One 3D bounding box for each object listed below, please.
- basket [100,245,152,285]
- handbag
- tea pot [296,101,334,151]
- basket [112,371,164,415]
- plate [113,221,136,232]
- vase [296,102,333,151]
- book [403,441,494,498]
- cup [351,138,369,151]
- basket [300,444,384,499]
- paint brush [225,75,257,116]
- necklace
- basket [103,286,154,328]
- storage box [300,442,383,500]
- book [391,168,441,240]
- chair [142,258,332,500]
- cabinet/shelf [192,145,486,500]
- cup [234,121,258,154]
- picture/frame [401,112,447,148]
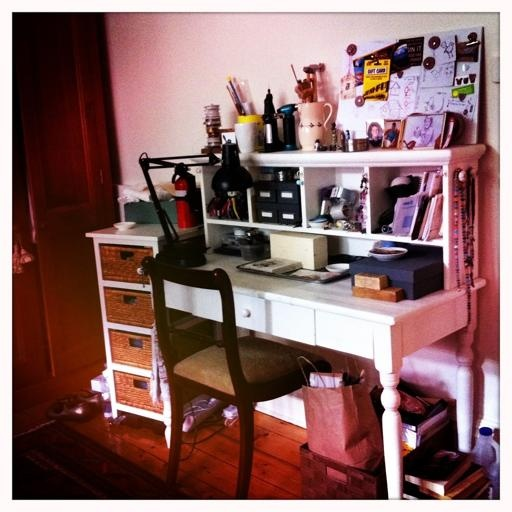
[{"bbox_3d":[-0.667,0.045,2.285,0.317,0.181,0.170,4,-9,-39],"label":"basket"},{"bbox_3d":[0.272,0.525,1.577,0.147,0.332,0.288,-5,-5,-42],"label":"handbag"},{"bbox_3d":[0.221,-0.522,1.892,0.135,0.177,0.164,-18,21,-38],"label":"tea pot"},{"bbox_3d":[-0.592,0.683,2.386,0.308,0.173,0.177,1,5,24],"label":"basket"},{"bbox_3d":[-0.639,-0.146,2.307,0.077,0.038,0.127,-1,12,21],"label":"plate"},{"bbox_3d":[0.226,-0.519,1.876,0.148,0.194,0.182,-1,13,21],"label":"vase"},{"bbox_3d":[0.634,0.715,1.548,0.187,0.041,0.183,-3,3,-39],"label":"book"},{"bbox_3d":[0.365,-0.385,1.624,0.052,0.034,0.050,-5,13,1],"label":"cup"},{"bbox_3d":[0.309,0.754,1.614,0.271,0.180,0.153,5,14,32],"label":"basket"},{"bbox_3d":[-0.063,-0.720,2.121,0.105,0.185,0.230,-5,12,2],"label":"paint brush"},{"bbox_3d":[0.681,-0.020,1.519,0.038,0.530,0.143,4,16,38],"label":"necklace"},{"bbox_3d":[-0.566,0.246,2.350,0.370,0.212,0.202,0,2,35],"label":"basket"},{"bbox_3d":[0.306,0.756,1.611,0.261,0.174,0.148,6,13,35],"label":"storage box"},{"bbox_3d":[0.518,-0.159,1.495,0.163,0.206,0.064,-6,7,-37],"label":"book"},{"bbox_3d":[-0.058,0.437,1.813,0.744,0.809,0.623,0,0,-19],"label":"chair"},{"bbox_3d":[0.168,0.129,1.866,0.520,1.037,1.219,-11,14,-44],"label":"cabinet/shelf"},{"bbox_3d":[-0.031,-0.494,1.992,0.132,0.140,0.128,-3,4,0],"label":"cup"},{"bbox_3d":[0.558,-0.414,1.553,0.015,0.114,0.159,2,8,-34],"label":"picture/frame"}]
